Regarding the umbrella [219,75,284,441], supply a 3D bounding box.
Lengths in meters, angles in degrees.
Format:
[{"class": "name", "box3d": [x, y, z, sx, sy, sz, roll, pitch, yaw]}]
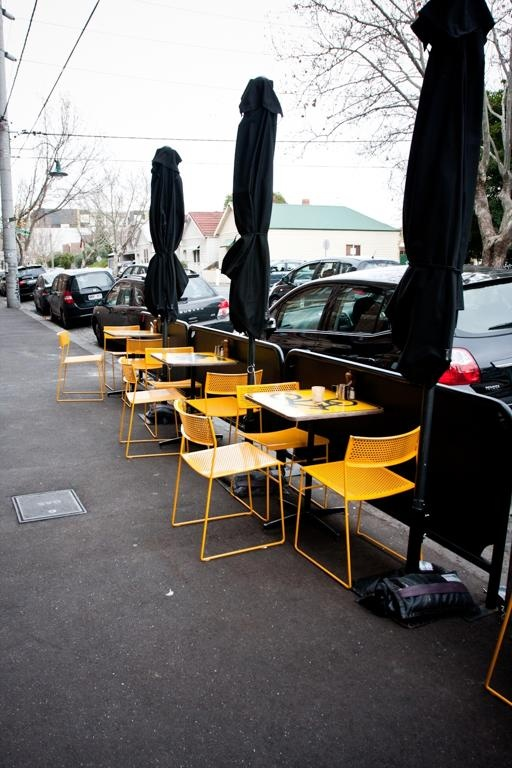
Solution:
[{"class": "umbrella", "box3d": [-0.065, -1.383, 5.192, 0.500, 2.748, 0.401, 1, 8, 1]}]

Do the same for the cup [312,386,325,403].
[{"class": "cup", "box3d": [0.433, 0.079, 4.031, 0.094, 0.111, 0.097, 3, -1, 0]}]

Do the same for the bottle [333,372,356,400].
[{"class": "bottle", "box3d": [0.653, 0.020, 4.121, 0.129, 0.186, 0.195, 2, 8, 8]}]
